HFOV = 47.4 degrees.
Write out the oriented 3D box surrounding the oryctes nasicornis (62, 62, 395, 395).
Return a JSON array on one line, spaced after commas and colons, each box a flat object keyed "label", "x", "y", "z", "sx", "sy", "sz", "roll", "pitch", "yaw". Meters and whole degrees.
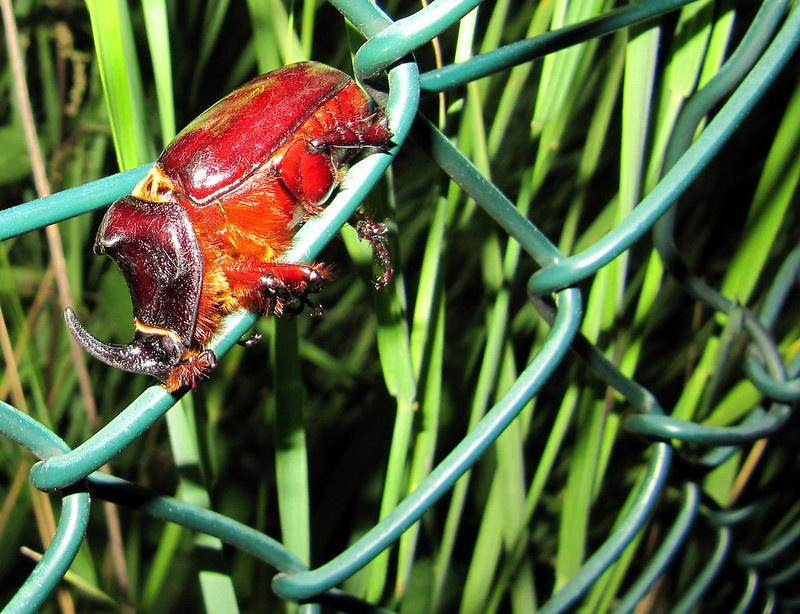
[{"label": "oryctes nasicornis", "x": -0.146, "y": -0.073, "z": 0.934, "sx": 0.175, "sy": 0.357, "sz": 0.250, "roll": 38, "pitch": -2, "yaw": -24}]
